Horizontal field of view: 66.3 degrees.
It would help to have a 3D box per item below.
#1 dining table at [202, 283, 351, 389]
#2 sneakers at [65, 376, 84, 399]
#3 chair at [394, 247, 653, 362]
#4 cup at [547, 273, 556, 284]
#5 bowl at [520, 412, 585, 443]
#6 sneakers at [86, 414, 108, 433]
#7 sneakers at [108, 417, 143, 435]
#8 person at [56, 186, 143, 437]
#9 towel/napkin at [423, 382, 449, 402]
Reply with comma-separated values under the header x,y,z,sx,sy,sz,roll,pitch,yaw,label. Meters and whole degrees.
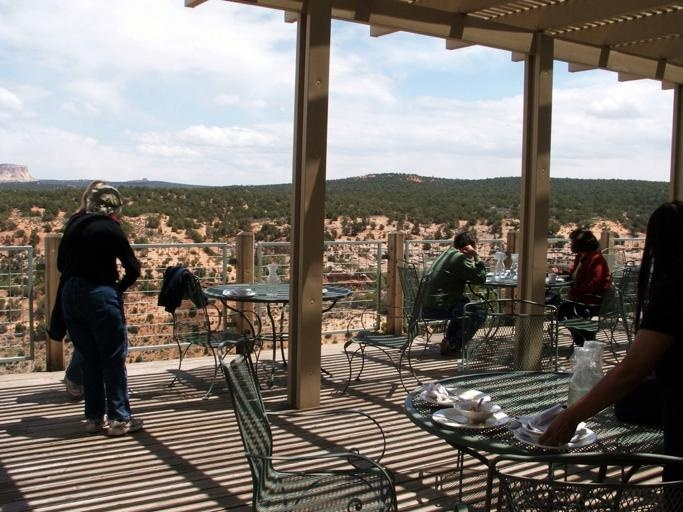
x,y,z,sx,sy,sz,roll,pitch,yaw,label
-0.612,0.525,5.280,1.375,0.812,1.363,-2,6,-19,dining table
-2.272,1.113,4.453,0.101,0.108,0.242,5,19,-21,sneakers
1.695,0.485,5.132,1.222,0.710,1.150,7,13,29,chair
2.561,0.287,6.475,0.116,0.119,0.143,2,-4,-21,cup
0.762,0.623,1.946,0.174,0.042,0.137,-6,2,-24,bowl
-1.803,1.232,3.853,0.077,0.081,0.199,2,4,3,sneakers
-1.562,1.241,3.842,0.093,0.099,0.243,32,21,32,sneakers
-1.722,0.499,3.737,0.521,1.597,0.296,-2,5,-25,person
0.405,0.591,2.291,0.082,0.032,0.078,-2,2,-18,towel/napkin
